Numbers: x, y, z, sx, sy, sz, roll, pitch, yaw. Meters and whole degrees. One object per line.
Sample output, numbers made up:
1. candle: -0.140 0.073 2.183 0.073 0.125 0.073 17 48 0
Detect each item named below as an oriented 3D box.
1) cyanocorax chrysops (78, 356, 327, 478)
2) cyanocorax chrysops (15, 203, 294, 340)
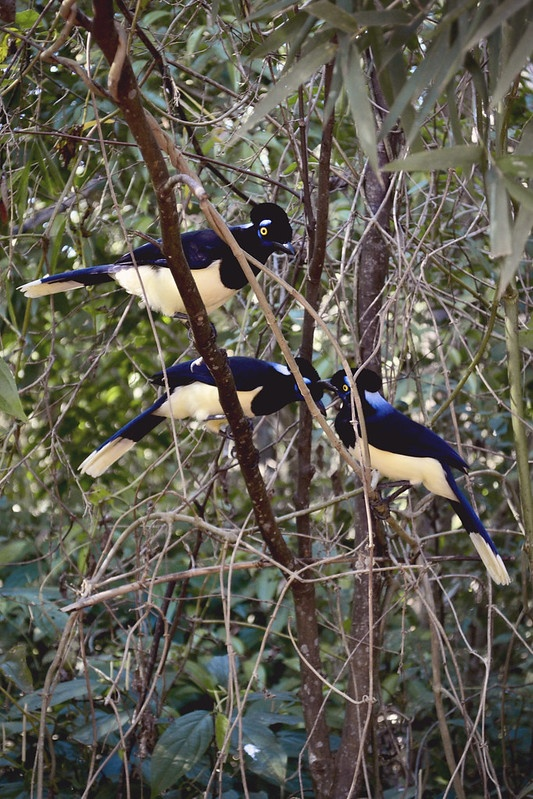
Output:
1. cyanocorax chrysops: -0.206 0.027 2.683 0.734 0.304 0.210 -1 -18 10
2. cyanocorax chrysops: -0.320 -0.397 2.642 0.844 0.348 0.239 0 0 6
